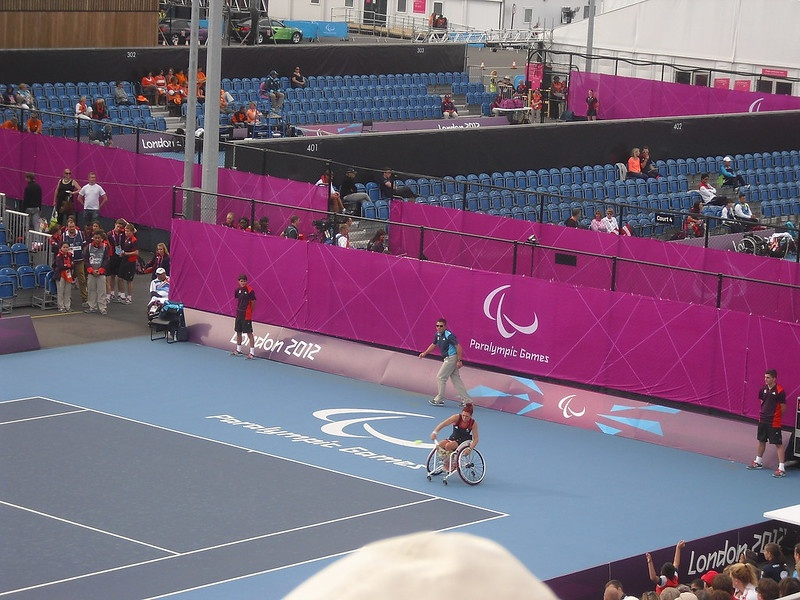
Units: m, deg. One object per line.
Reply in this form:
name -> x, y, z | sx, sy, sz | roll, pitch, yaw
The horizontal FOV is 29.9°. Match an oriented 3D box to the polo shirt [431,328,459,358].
polo shirt -> 1.310, 1.183, 41.800 | 0.365, 0.698, 0.682 | -31, 17, -37

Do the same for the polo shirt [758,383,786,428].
polo shirt -> 9.627, 2.700, 38.601 | 0.629, 1.062, 0.444 | 5, 11, 15

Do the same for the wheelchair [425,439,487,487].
wheelchair -> 1.438, 4.196, 38.080 | 1.272, 1.422, 1.092 | -3, -13, 41

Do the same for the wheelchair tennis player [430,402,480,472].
wheelchair tennis player -> 1.462, 3.509, 38.051 | 1.251, 2.029, 1.200 | 7, 22, 7

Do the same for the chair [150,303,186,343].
chair -> -7.092, 0.723, 46.055 | 1.159, 1.300, 1.017 | 6, 7, 40
